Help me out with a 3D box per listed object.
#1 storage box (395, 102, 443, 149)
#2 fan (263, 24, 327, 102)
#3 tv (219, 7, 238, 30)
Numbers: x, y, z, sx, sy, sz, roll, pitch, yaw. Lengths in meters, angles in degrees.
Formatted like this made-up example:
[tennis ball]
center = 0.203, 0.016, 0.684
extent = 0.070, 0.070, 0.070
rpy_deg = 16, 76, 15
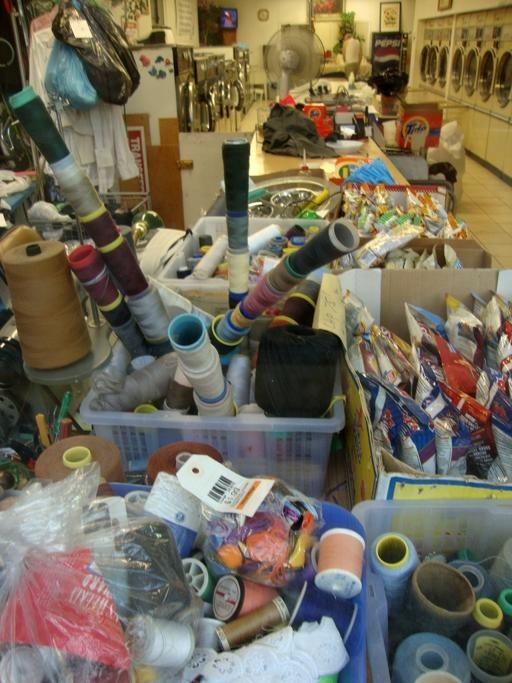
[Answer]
[storage box]
center = 1.520, -2.071, 4.874
extent = 0.446, 0.443, 0.463
rpy_deg = 0, 55, 4
[fan]
center = 0.310, -2.392, 4.414
extent = 0.513, 0.737, 0.479
rpy_deg = 8, 13, 12
[tv]
center = -0.648, -7.562, 11.678
extent = 0.177, 0.438, 0.733
rpy_deg = 11, 29, 23
